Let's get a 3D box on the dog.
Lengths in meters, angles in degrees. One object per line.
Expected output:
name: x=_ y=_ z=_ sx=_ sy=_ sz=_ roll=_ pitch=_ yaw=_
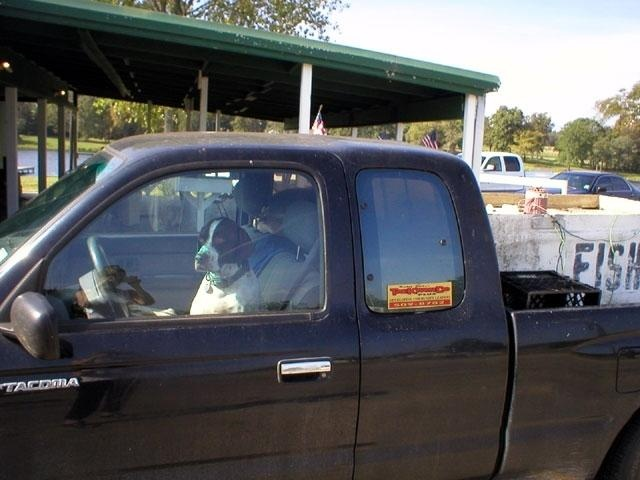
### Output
dog: x=-0.514 y=0.135 z=3.131 sx=0.354 sy=0.497 sz=0.317 roll=2 pitch=4 yaw=37

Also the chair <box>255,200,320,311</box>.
chair: x=-0.157 y=0.078 z=3.157 sx=0.348 sy=0.548 sz=0.467 roll=3 pitch=8 yaw=11
